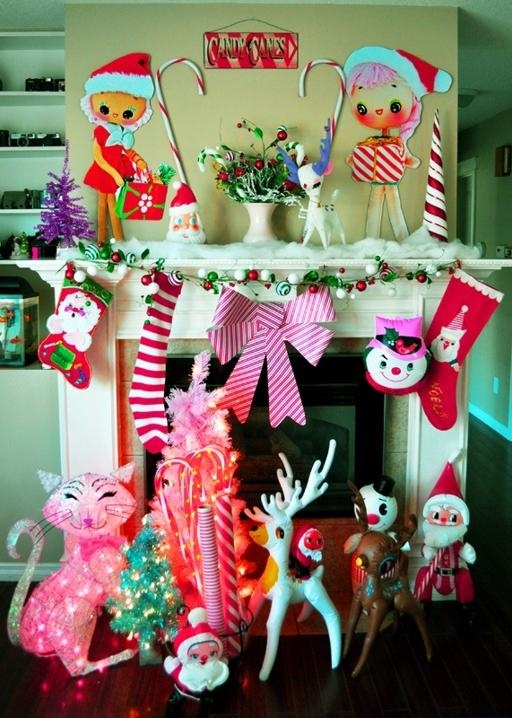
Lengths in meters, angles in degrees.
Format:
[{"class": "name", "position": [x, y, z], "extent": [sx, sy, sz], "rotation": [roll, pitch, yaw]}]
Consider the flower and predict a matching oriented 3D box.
[{"class": "flower", "position": [0.010, -0.642, 1.952], "extent": [0.378, 0.246, 0.269], "rotation": [10, 3, 18]}]

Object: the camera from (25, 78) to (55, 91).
[{"class": "camera", "position": [-0.843, -1.071, 2.274], "extent": [0.066, 0.036, 0.044], "rotation": [-1, 13, -7]}]

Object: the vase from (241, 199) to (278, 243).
[{"class": "vase", "position": [0.012, -0.450, 1.948], "extent": [0.105, 0.130, 0.144], "rotation": [0, 8, -1]}]
